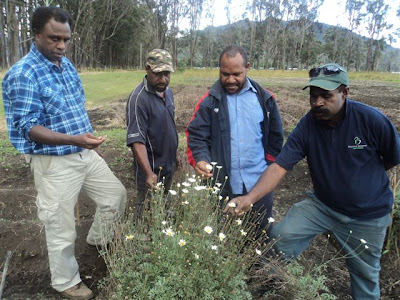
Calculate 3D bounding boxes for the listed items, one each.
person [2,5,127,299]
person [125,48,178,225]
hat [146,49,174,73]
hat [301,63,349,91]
[{"bbox_3d":[-1.546,0.085,3.386,1.083,3.264,0.810,-8,17,-32],"label":"person"},{"bbox_3d":[-0.680,-0.192,4.046,0.591,2.287,0.980,4,15,15],"label":"person"},{"bbox_3d":[-0.554,-1.190,3.949,0.357,0.310,0.336,-2,15,-12],"label":"hat"},{"bbox_3d":[1.466,-0.793,3.305,0.499,0.270,0.350,-13,16,-43],"label":"hat"}]
